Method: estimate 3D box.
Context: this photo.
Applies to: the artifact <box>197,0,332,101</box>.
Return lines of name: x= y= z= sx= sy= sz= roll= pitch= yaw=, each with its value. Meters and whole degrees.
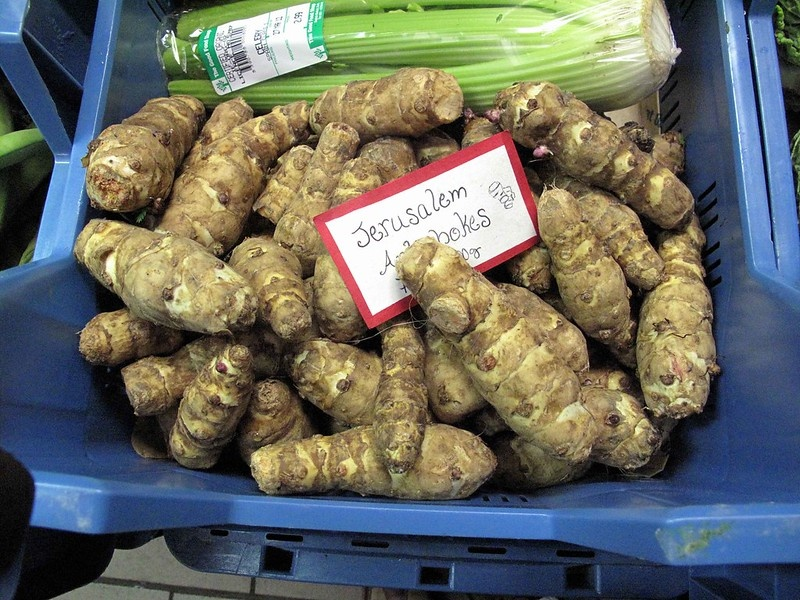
artifact: x=-0.487 y=-0.921 z=2.563 sx=0.427 sy=0.117 sz=0.279 roll=-15 pitch=99 yaw=6
